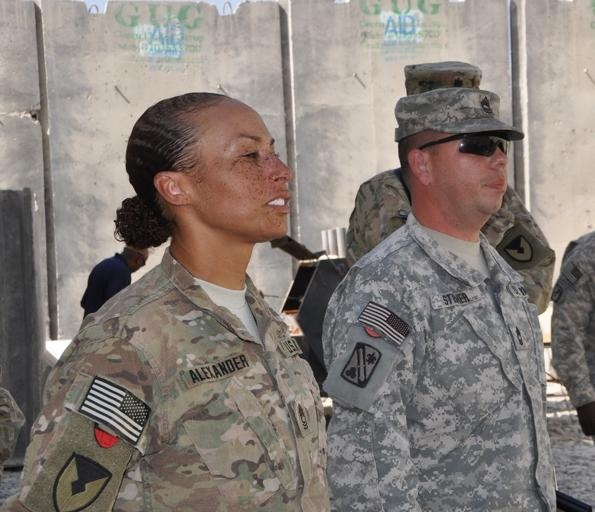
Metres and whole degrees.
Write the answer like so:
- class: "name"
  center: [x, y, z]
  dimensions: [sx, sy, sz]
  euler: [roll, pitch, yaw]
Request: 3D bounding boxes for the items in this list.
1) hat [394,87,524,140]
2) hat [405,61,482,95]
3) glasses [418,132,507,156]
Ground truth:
- class: "hat"
  center: [0.745, -0.675, 5.153]
  dimensions: [0.499, 0.226, 0.704]
  euler: [-4, 6, -37]
- class: "hat"
  center: [0.747, -0.888, 5.611]
  dimensions: [0.239, 0.113, 0.313]
  euler: [-6, 7, -33]
- class: "glasses"
  center: [0.791, -0.505, 4.922]
  dimensions: [0.197, 0.054, 0.162]
  euler: [-5, -2, 41]
